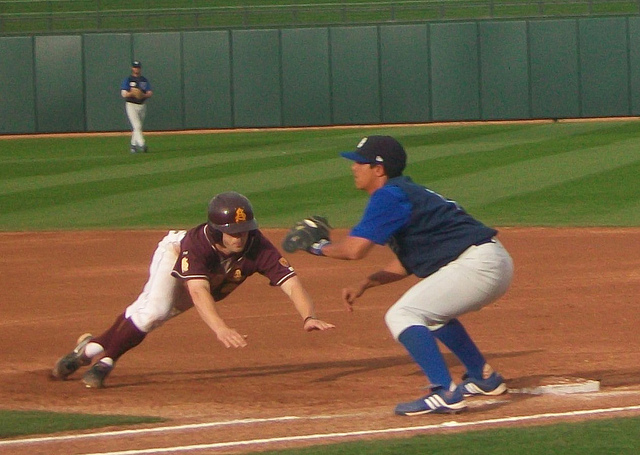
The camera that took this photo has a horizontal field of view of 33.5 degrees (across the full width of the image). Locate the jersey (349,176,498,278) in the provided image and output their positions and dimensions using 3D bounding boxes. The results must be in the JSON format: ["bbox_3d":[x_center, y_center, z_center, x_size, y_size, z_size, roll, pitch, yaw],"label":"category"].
[{"bbox_3d":[1.141,-0.005,12.040,1.428,1.169,0.273,-12,-1,2],"label":"jersey"}]

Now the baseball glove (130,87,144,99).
[{"bbox_3d":[-3.642,-2.677,21.140,0.141,0.224,0.199,-15,-3,38],"label":"baseball glove"}]

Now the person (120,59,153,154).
[{"bbox_3d":[-3.648,-2.432,21.378,0.613,1.802,0.932,-15,-1,-8],"label":"person"}]

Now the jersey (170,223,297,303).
[{"bbox_3d":[-1.078,0.377,12.853,1.258,1.002,1.176,-1,13,-14],"label":"jersey"}]

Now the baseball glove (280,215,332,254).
[{"bbox_3d":[-0.163,0.092,12.329,0.587,0.435,0.213,-11,-1,0],"label":"baseball glove"}]
